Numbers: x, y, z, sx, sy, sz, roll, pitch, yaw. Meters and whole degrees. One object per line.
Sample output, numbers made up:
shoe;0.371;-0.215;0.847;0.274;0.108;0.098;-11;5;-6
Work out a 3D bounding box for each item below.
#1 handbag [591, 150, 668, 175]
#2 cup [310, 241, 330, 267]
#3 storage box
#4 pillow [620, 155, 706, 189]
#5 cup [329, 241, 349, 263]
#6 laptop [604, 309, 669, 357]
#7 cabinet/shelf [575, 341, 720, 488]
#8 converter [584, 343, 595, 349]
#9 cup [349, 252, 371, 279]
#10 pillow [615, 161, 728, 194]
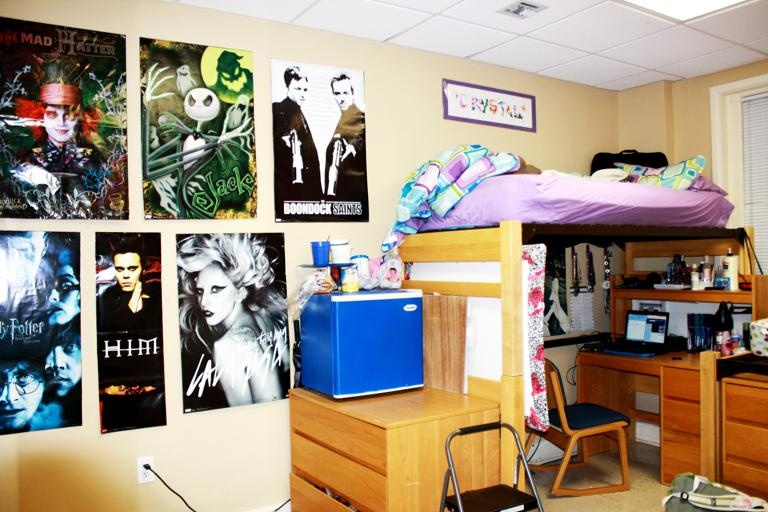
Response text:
handbag;2.543;-0.984;5.820;0.459;0.171;0.438;4;27;18
cup;-0.471;-0.001;4.161;0.174;0.188;0.177;-1;-2;0
storage box;-0.115;0.614;4.275;0.781;0.748;0.788;-5;-1;-36
pillow;2.521;-0.714;5.081;0.536;0.161;0.551;-2;30;43
cup;-0.320;-0.015;4.256;0.141;0.158;0.164;2;-5;-36
laptop;2.455;0.765;5.432;0.455;0.382;0.523;4;-5;-31
cabinet/shelf;2.403;1.457;5.103;0.660;0.895;1.233;3;-4;-27
converter;2.076;0.931;5.656;0.057;0.035;0.078;1;-2;-22
cup;-0.153;0.087;4.380;0.164;0.258;0.170;-6;-7;-1
pillow;2.622;-0.701;5.016;0.615;0.193;0.543;0;9;4
